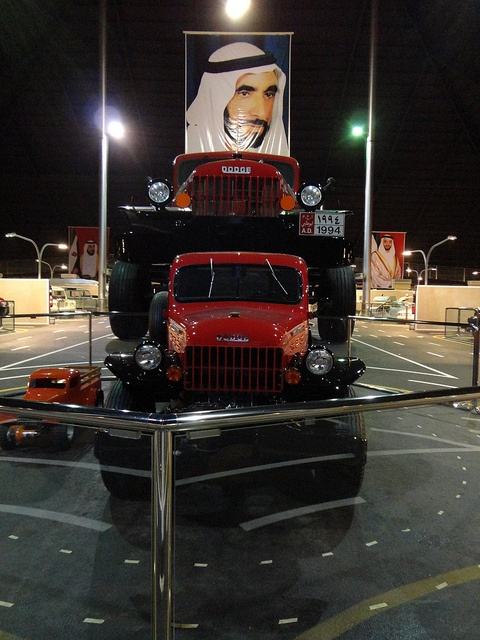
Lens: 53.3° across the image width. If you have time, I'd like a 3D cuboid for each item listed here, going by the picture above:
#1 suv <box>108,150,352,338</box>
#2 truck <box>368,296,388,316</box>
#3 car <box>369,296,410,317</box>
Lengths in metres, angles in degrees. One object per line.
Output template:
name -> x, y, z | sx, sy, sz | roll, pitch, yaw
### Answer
suv -> -0.139, -1.295, 7.670 | 2.235, 2.169, 4.288 | 1, -6, -1
truck -> 10.141, -1.051, 35.181 | 1.583, 1.296, 2.478 | -1, -2, 8
car -> 9.880, -0.863, 31.547 | 2.172, 1.617, 3.687 | -1, -3, 11
